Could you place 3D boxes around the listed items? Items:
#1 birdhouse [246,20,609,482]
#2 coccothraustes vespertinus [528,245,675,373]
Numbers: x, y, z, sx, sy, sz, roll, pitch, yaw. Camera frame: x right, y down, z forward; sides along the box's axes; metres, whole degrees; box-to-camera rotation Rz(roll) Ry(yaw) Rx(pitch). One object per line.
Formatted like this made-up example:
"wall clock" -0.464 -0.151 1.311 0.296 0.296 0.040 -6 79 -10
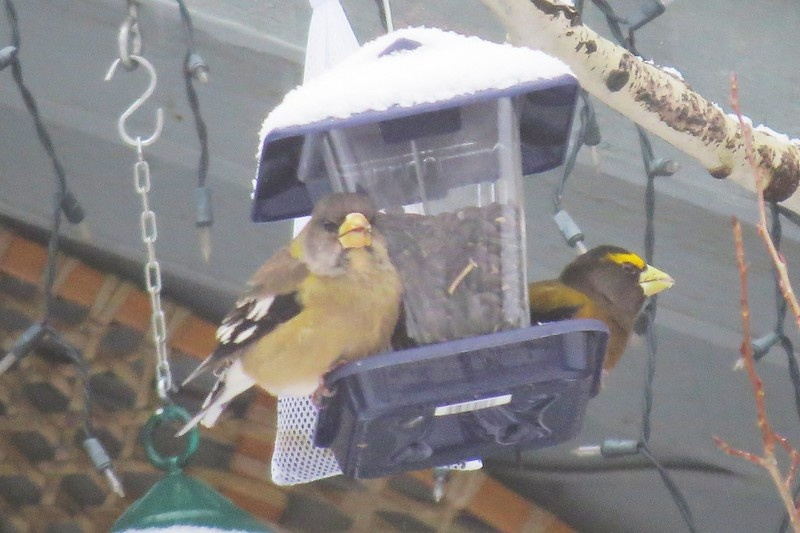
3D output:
"birdhouse" 0.079 0.038 6.537 1.321 1.791 0.728 8 11 -5
"coccothraustes vespertinus" 0.716 0.138 6.855 0.618 0.401 0.411 11 -15 3
